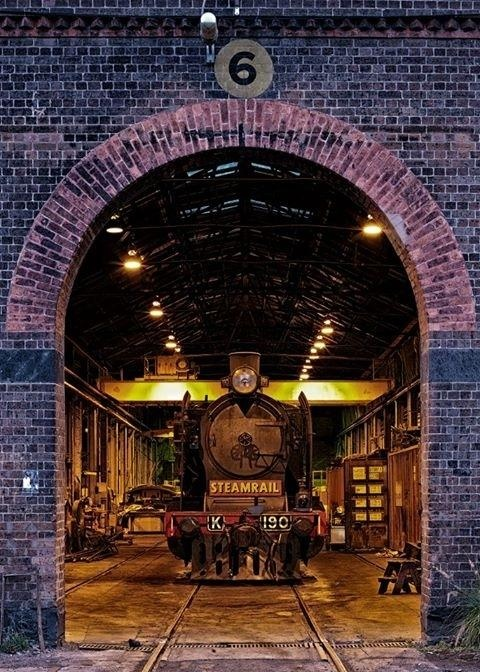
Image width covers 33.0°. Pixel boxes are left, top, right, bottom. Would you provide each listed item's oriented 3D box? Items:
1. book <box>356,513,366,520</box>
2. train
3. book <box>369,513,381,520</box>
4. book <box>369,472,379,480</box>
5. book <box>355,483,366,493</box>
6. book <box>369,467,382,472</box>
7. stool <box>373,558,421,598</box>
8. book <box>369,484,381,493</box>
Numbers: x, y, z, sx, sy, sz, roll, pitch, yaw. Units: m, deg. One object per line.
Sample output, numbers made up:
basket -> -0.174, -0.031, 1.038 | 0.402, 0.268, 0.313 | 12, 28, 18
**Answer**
book -> 3.375, 5.036, 22.401 | 0.298, 0.232, 0.172 | -3, 8, 1
train -> 0.055, 2.534, 17.122 | 2.921, 4.209, 7.205 | -1, -5, 1
book -> 3.757, 5.053, 22.430 | 0.325, 0.237, 0.185 | -4, -2, 1
book -> 3.728, 3.937, 22.494 | 0.195, 0.157, 0.029 | 1, -11, 0
book -> 3.335, 4.263, 22.353 | 0.347, 0.327, 0.200 | 1, -17, 3
book -> 3.798, 3.752, 22.589 | 0.283, 0.166, 0.069 | -1, -1, 2
stool -> 2.567, 3.837, 12.823 | 0.794, 0.682, 0.889 | -2, -4, 2
book -> 3.770, 4.280, 22.473 | 0.369, 0.287, 0.213 | -5, 7, -4
